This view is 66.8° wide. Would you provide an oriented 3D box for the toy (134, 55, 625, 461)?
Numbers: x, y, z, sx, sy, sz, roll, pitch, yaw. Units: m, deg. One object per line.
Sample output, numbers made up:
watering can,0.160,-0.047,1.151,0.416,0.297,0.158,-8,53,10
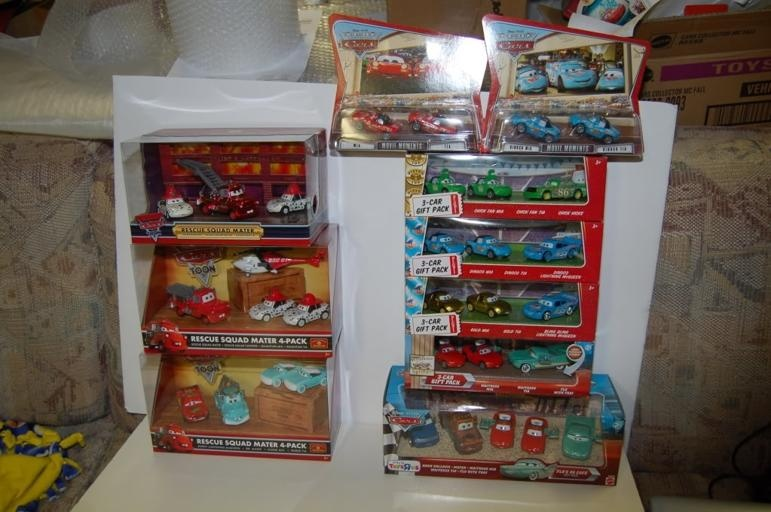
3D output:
toy,-0.007,-0.015,2.203,1.937,1.348,0.565,-1,13,-1
